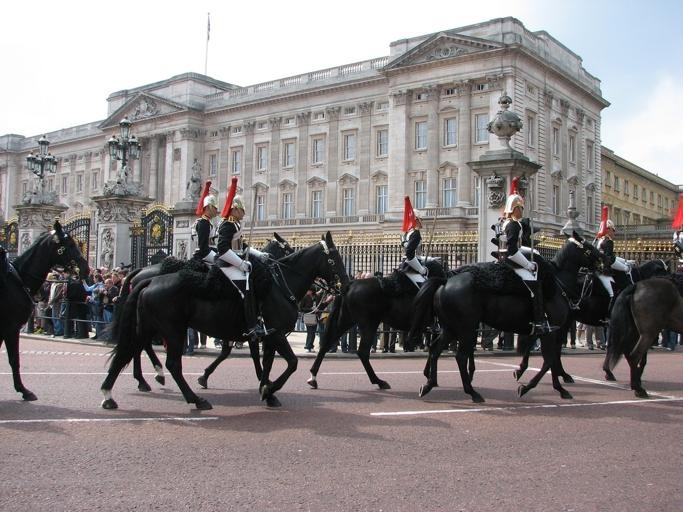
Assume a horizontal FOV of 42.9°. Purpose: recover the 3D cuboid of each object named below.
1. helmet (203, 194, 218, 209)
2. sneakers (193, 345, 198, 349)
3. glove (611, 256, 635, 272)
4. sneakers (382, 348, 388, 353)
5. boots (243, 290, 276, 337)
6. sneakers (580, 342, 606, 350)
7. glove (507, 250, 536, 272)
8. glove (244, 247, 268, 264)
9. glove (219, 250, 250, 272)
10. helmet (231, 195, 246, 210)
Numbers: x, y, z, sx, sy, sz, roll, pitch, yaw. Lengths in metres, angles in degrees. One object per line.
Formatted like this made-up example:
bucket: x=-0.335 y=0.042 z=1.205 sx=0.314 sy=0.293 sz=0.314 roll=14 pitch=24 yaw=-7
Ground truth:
helmet: x=-2.099 y=-0.887 z=13.849 sx=0.244 sy=0.143 sz=0.177 roll=3 pitch=-1 yaw=0
sneakers: x=-3.546 y=2.198 z=21.115 sx=0.103 sy=0.051 sz=0.156 roll=-1 pitch=-1 yaw=-14
glove: x=5.647 y=0.189 z=17.389 sx=0.409 sy=0.181 sz=0.555 roll=16 pitch=2 yaw=37
sneakers: x=1.010 y=2.243 z=20.685 sx=0.093 sy=0.147 sz=0.086 roll=2 pitch=-8 yaw=-13
boots: x=-1.275 y=0.885 z=13.366 sx=0.438 sy=0.763 sz=0.252 roll=3 pitch=3 yaw=21
sneakers: x=6.580 y=2.327 z=22.694 sx=0.614 sy=0.222 sz=0.178 roll=-2 pitch=-1 yaw=10
glove: x=2.926 y=0.078 z=14.157 sx=0.437 sy=0.230 sz=0.308 roll=26 pitch=-4 yaw=-11
glove: x=-1.469 y=-0.001 z=14.918 sx=0.291 sy=0.079 sz=0.314 roll=24 pitch=-2 yaw=29
glove: x=-1.638 y=0.076 z=13.383 sx=0.430 sy=0.162 sz=0.307 roll=28 pitch=-1 yaw=-10
helmet: x=-1.640 y=-0.848 z=13.794 sx=0.184 sy=0.169 sz=0.260 roll=-4 pitch=21 yaw=-37
